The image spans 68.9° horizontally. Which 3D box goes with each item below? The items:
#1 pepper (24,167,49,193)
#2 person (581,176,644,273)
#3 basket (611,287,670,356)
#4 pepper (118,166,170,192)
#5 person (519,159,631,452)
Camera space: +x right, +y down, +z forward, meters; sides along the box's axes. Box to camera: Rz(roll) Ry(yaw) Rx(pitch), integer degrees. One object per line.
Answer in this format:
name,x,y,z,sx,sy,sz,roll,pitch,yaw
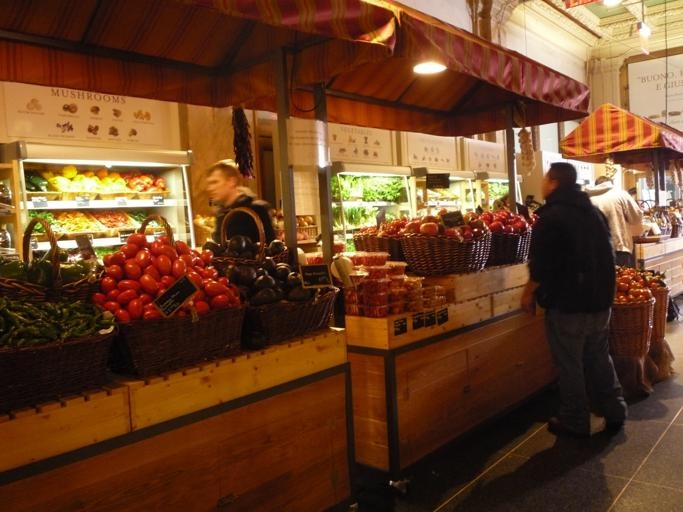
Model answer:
pepper,-2.956,-0.727,4.828,0.187,0.103,0.311,-9,29,-27
person,3.453,-0.195,6.549,0.839,1.571,0.628,0,6,36
basket,2.486,0.647,4.355,0.490,0.620,0.534,6,11,28
pepper,-2.123,-0.786,5.384,0.381,0.110,0.330,-1,0,44
person,1.661,0.326,3.725,0.776,1.918,0.673,-6,7,-31
